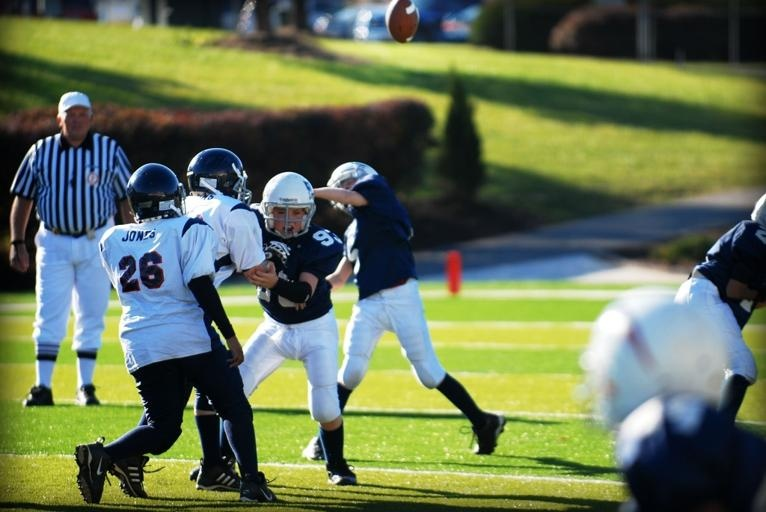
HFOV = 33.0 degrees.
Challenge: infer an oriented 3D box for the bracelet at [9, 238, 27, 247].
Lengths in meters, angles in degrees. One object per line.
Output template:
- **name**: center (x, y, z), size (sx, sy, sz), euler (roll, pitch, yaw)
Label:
- **bracelet**: center (-3.912, -0.153, 13.851), size (0.138, 0.071, 0.224), euler (-3, 10, -18)

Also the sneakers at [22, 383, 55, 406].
- **sneakers**: center (-3.660, 1.496, 13.803), size (0.410, 0.154, 0.152), euler (-1, 0, 15)

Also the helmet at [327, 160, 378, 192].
- **helmet**: center (-0.349, -0.828, 12.834), size (0.392, 0.274, 0.290), euler (-16, -13, -13)

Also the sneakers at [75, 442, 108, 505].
- **sneakers**: center (-2.581, 1.896, 11.529), size (0.307, 0.557, 0.231), euler (-7, 1, -21)

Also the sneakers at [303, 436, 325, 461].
- **sneakers**: center (-0.677, 1.874, 12.552), size (0.264, 0.244, 0.186), euler (-2, -5, 38)

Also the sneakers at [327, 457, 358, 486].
- **sneakers**: center (-0.389, 2.020, 12.025), size (0.157, 0.147, 0.359), euler (4, -6, -40)

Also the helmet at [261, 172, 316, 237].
- **helmet**: center (-0.916, -0.411, 12.177), size (0.526, 0.507, 0.655), euler (4, -7, -6)

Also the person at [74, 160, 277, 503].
- **person**: center (-1.931, 0.719, 11.604), size (1.609, 2.944, 0.705), euler (-1, 11, -6)

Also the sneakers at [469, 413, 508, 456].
- **sneakers**: center (1.021, 1.736, 12.629), size (0.290, 0.507, 0.194), euler (8, 21, -1)
